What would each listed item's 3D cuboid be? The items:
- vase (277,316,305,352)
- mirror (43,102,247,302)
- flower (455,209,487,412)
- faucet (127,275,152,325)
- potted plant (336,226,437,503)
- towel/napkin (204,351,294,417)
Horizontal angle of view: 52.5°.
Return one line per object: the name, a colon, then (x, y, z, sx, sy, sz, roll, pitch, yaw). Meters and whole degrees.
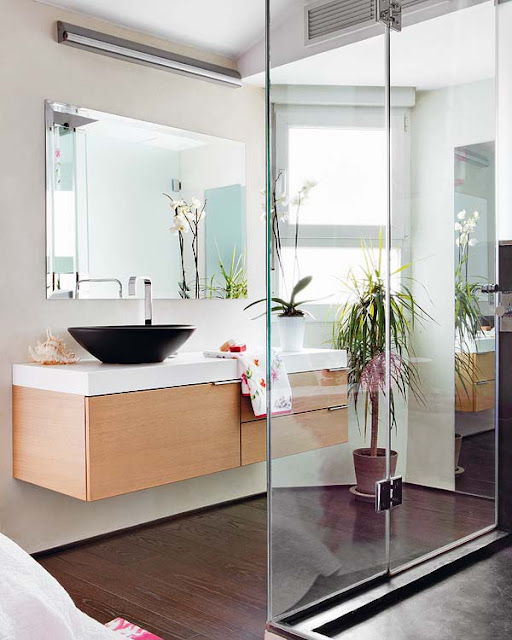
vase: (0.083, 0.033, 1.223, 0.062, 0.081, 0.071, 1, -1, -23)
mirror: (-0.617, -0.621, 2.726, 0.024, 0.906, 1.058, 3, 2, 42)
flower: (0.534, -0.028, 1.309, 0.064, 0.485, 0.035, -1, 6, 8)
faucet: (-0.595, -0.099, 2.665, 0.122, 0.249, 0.204, -3, 6, -13)
potted plant: (0.317, 0.097, 1.298, 0.242, 0.640, 0.087, -4, 6, -27)
towel/napkin: (0.025, 0.251, 2.272, 0.338, 0.210, 0.346, -3, 3, -44)
